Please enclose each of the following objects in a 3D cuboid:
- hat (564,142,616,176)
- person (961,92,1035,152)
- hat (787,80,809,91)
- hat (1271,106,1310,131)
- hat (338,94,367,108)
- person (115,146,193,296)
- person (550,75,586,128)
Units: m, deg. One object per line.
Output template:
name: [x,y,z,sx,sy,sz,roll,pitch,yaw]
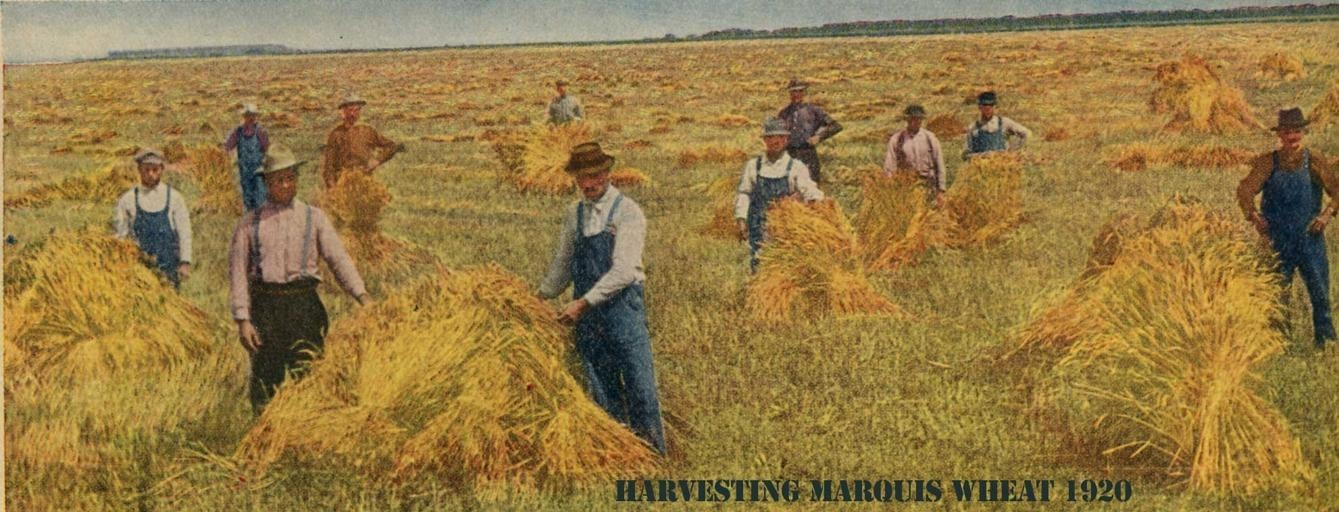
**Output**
hat: [-1.348,-1.642,20.316,0.562,0.536,0.572,-12,16,-43]
person: [5.873,-2.326,21.716,1.516,1.119,0.772,-1,5,41]
hat: [2.325,-3.079,21.769,0.379,0.184,0.171,-7,14,-33]
hat: [10.951,-2.425,21.216,0.537,0.176,0.506,-5,3,4]
hat: [-5.676,-2.773,21.569,0.372,0.108,0.300,-11,-10,39]
person: [-9.022,-0.683,21.274,1.252,2.311,0.639,4,14,22]
person: [-1.854,-2.771,21.669,0.611,0.761,0.255,-1,13,-2]
